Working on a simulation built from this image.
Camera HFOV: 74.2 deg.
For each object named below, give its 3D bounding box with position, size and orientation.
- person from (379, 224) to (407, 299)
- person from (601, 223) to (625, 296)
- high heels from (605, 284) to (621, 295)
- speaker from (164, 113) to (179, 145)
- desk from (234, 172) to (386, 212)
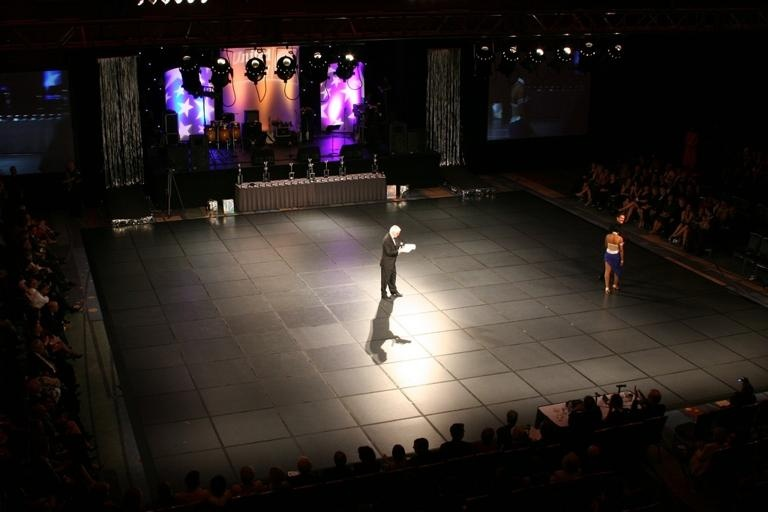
[{"bbox_3d":[0.187,0.086,13.116,0.609,1.832,0.896,-4,18,-1],"label":"person"},{"bbox_3d":[6.102,-0.001,13.415,0.454,1.872,1.343,5,20,24],"label":"person"},{"bbox_3d":[6.084,0.912,13.496,0.193,0.213,0.566,-2,9,15],"label":"high heels"},{"bbox_3d":[-8.104,-4.877,19.295,0.459,1.172,0.917,-7,19,-12],"label":"speaker"},{"bbox_3d":[-2.697,-2.328,19.078,5.568,1.132,0.497,-8,19,-15],"label":"desk"}]
